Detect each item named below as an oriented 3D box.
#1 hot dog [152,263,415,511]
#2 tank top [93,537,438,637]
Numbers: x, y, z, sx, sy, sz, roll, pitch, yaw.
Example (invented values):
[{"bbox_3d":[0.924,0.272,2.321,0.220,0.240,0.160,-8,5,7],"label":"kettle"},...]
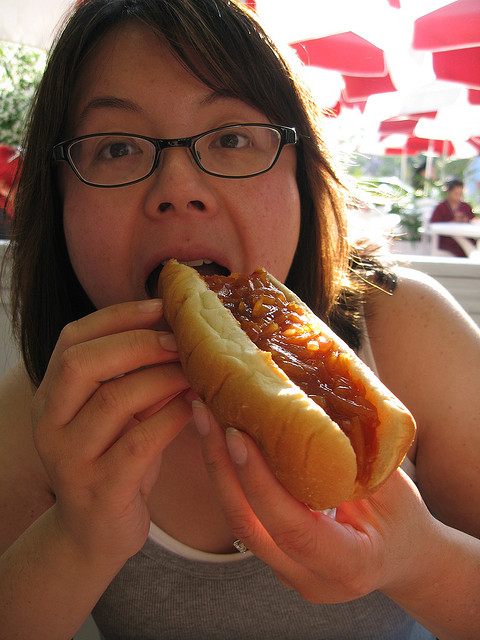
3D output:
[{"bbox_3d":[0.096,0.153,2.052,0.587,0.341,1.064,-2,37,-32],"label":"hot dog"},{"bbox_3d":[0.010,1.209,2.437,1.294,0.513,0.188,4,17,3],"label":"tank top"}]
